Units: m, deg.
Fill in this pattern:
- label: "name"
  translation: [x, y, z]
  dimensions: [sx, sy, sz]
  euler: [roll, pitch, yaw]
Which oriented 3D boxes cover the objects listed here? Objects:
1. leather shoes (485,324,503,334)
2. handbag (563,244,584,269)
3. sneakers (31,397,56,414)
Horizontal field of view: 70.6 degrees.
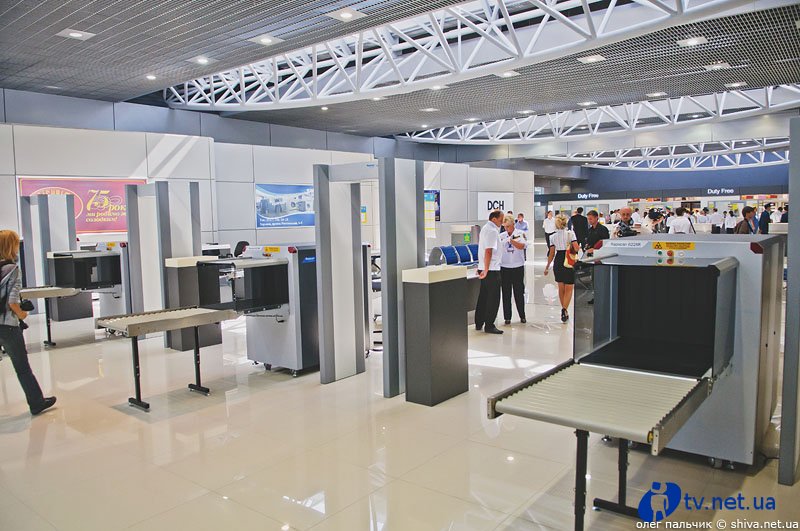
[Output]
- label: "leather shoes"
  translation: [1.502, 1.052, 9.288]
  dimensions: [0.345, 0.202, 0.111]
  euler: [-2, 0, 13]
- label: "handbag"
  translation: [2.746, -0.151, 9.028]
  dimensions: [0.287, 0.442, 0.410]
  euler: [2, 5, 23]
- label: "sneakers"
  translation: [-4.114, 1.629, 6.543]
  dimensions: [0.132, 0.091, 0.241]
  euler: [5, 14, 14]
